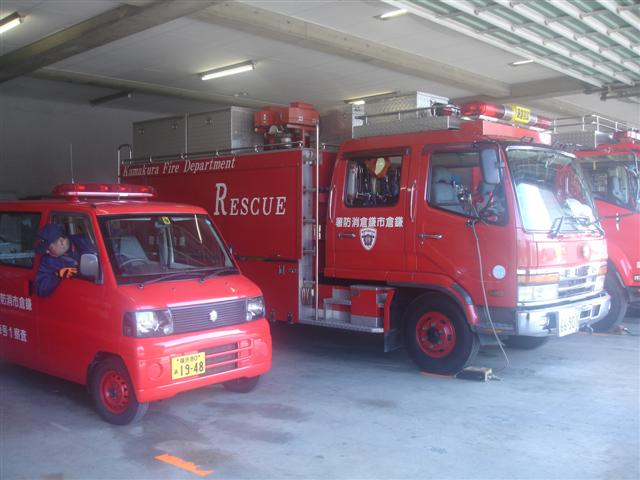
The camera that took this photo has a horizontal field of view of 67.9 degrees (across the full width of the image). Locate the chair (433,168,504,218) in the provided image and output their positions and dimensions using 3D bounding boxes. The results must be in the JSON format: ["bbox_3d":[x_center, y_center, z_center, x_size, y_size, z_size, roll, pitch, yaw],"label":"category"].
[{"bbox_3d":[2.057,-0.666,6.599,1.036,0.804,0.627,1,4,27],"label":"chair"}]

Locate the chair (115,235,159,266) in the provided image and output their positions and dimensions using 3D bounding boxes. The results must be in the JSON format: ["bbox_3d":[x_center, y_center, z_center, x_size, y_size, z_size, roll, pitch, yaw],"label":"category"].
[{"bbox_3d":[-2.177,0.106,5.591,0.383,0.410,0.307,-5,3,10],"label":"chair"}]

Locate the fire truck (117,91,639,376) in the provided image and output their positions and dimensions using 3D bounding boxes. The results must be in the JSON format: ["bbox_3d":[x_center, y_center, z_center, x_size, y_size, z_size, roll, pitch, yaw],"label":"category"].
[{"bbox_3d":[1.086,-0.174,8.813,7.232,3.375,3.421,-2,0,36],"label":"fire truck"}]
